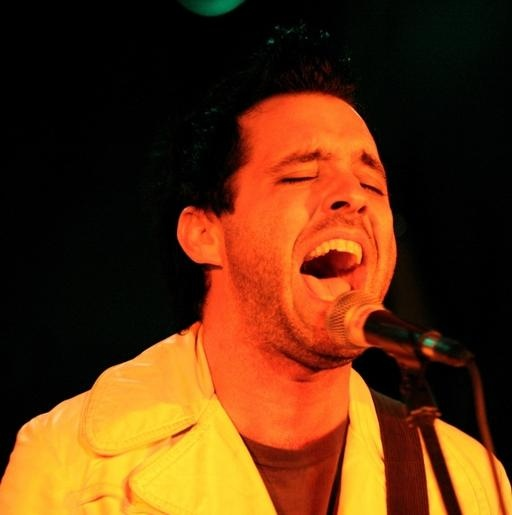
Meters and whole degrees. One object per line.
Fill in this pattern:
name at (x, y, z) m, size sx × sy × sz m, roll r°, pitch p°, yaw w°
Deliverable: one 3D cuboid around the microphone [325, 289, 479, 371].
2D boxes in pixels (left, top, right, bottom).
microphone at (0.375, 0.191, 1.945) m, size 0.162 × 0.164 × 0.462 m, roll -7°, pitch 16°, yaw -27°
